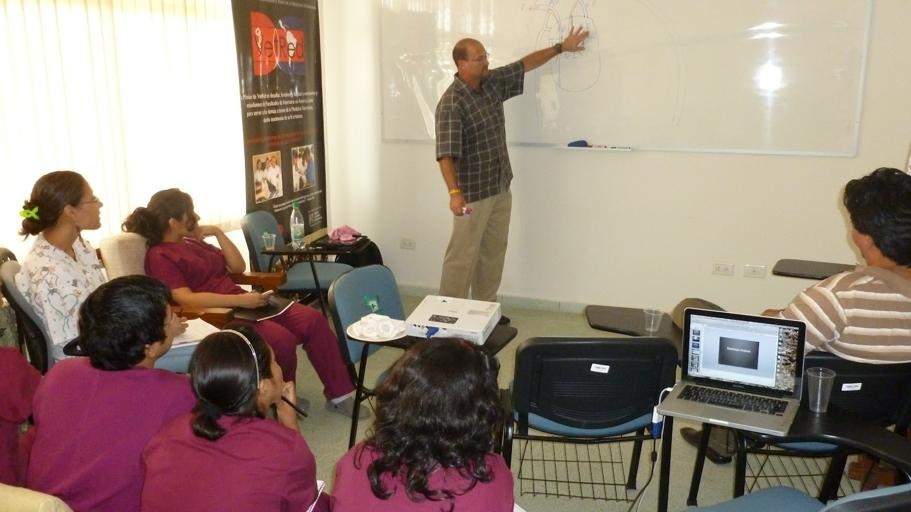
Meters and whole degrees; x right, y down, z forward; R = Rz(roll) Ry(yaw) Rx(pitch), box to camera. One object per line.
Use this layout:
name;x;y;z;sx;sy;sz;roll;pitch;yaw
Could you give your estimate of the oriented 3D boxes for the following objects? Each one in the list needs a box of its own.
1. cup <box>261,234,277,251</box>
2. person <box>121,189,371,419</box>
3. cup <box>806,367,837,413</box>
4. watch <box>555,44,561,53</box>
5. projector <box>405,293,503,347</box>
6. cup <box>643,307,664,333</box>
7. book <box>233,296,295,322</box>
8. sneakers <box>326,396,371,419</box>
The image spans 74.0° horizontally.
cup;-1.603;-0.121;5.203;0.148;0.147;0.145;-1;16;0
person;-1.585;0.414;4.600;1.637;1.605;0.806;8;22;9
cup;1.968;0.724;3.260;0.147;0.231;0.154;-2;8;0
watch;0.905;-1.845;5.394;0.059;0.069;0.066;2;-18;8
projector;-0.020;0.404;3.842;0.624;0.110;0.625;1;16;-5
cup;1.232;0.399;3.785;0.137;0.100;0.135;1;10;0
book;-1.402;0.406;4.410;0.227;0.056;0.219;-7;13;-36
sneakers;-0.808;1.136;4.532;0.334;0.135;0.143;2;17;12
